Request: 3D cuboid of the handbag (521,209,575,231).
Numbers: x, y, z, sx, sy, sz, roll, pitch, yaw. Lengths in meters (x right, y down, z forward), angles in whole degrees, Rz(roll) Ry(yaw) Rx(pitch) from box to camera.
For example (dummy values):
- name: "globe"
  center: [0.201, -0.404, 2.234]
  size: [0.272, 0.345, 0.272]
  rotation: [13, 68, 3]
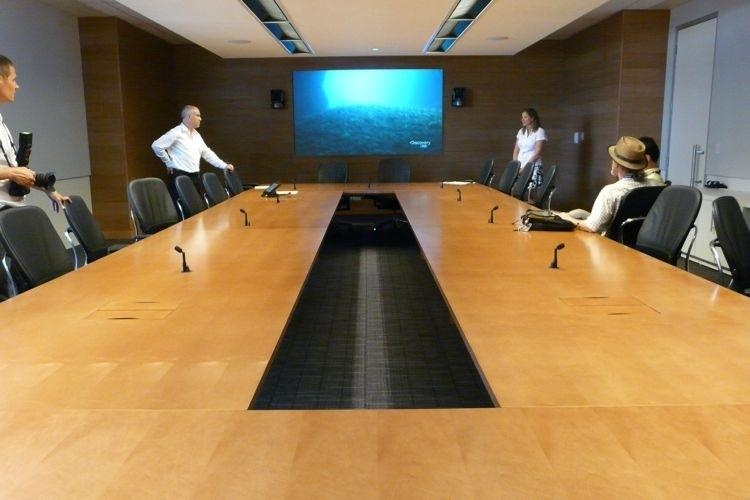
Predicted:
- name: "handbag"
  center: [1.338, -0.213, 3.893]
  size: [0.272, 0.072, 0.244]
  rotation: [3, 12, -1]

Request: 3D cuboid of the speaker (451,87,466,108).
- name: "speaker"
  center: [1.568, -2.922, 9.793]
  size: [0.373, 0.443, 0.360]
  rotation: [0, 2, 1]
